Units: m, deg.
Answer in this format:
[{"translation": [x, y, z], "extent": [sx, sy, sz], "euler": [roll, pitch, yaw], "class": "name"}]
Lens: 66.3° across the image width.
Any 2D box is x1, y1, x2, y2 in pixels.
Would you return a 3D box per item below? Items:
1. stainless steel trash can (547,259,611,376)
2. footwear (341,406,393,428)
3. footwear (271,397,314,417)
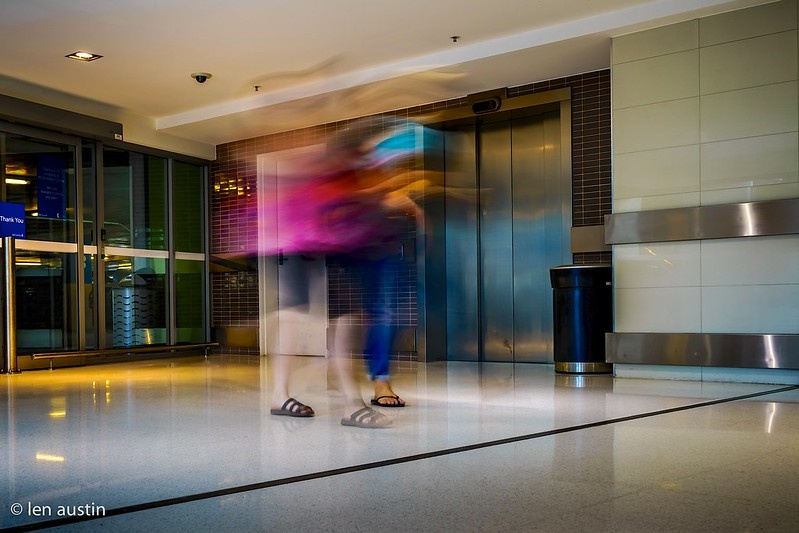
[{"translation": [1.920, 0.554, 6.419], "extent": [0.577, 1.128, 0.198], "euler": [-1, -2, 8], "class": "stainless steel trash can"}, {"translation": [-0.218, 0.988, 4.036], "extent": [0.265, 0.077, 0.135], "euler": [-4, -7, 23], "class": "footwear"}, {"translation": [-0.761, 1.013, 4.398], "extent": [0.325, 0.096, 0.122], "euler": [-5, -9, 32], "class": "footwear"}]
